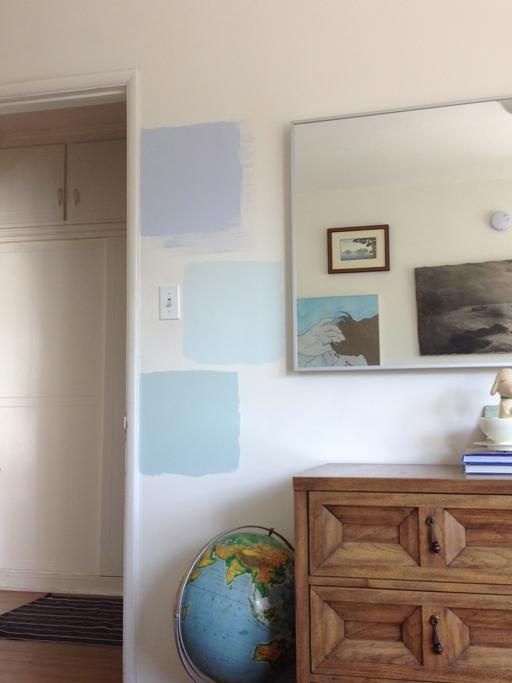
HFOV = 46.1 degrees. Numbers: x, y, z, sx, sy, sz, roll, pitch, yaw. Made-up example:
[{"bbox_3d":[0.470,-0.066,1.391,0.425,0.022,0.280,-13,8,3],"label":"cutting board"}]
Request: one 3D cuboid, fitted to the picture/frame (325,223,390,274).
[{"bbox_3d":[0.300,-0.265,1.707,0.150,0.119,0.007,0,-2,17],"label":"picture/frame"}]
